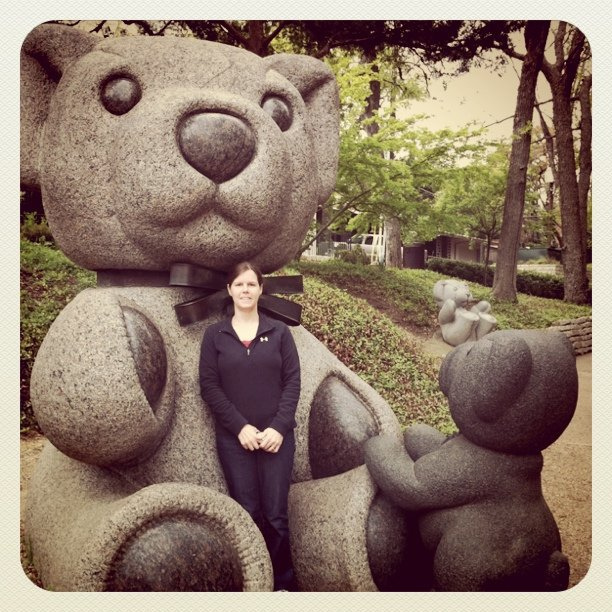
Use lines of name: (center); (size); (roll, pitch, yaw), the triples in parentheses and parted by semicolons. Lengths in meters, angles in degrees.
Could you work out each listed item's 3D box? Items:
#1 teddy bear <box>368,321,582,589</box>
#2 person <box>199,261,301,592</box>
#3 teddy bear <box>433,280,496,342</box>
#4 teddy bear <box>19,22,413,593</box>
teddy bear: (0.686, 0.644, 2.616); (0.832, 1.119, 0.628); (1, 0, 42)
person: (-0.223, 0.507, 2.638); (0.440, 1.332, 0.395); (4, 12, 7)
teddy bear: (1.347, 0.055, 5.370); (0.532, 0.583, 0.439); (5, 4, 41)
teddy bear: (-0.447, 0.020, 2.595); (1.559, 2.261, 1.189); (1, 12, -9)
